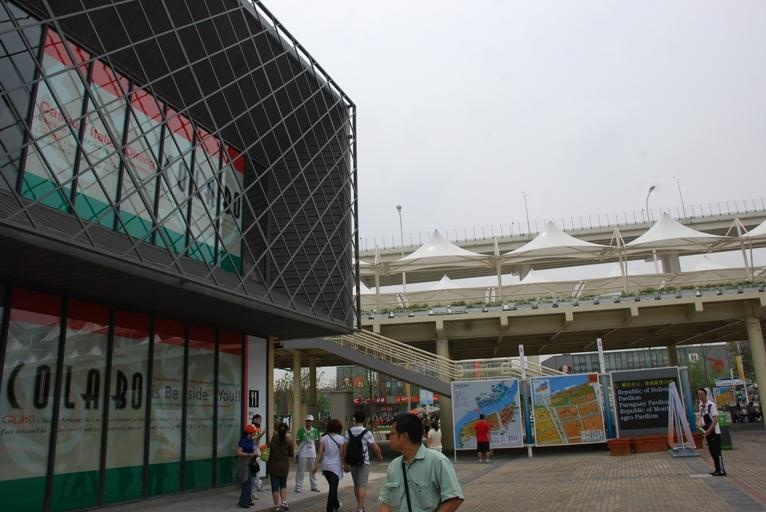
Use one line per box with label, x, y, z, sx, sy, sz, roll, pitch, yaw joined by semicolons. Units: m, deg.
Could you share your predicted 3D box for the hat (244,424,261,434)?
hat;-3.240;4.325;13.832;0.321;0.147;0.429;2;-4;-19
